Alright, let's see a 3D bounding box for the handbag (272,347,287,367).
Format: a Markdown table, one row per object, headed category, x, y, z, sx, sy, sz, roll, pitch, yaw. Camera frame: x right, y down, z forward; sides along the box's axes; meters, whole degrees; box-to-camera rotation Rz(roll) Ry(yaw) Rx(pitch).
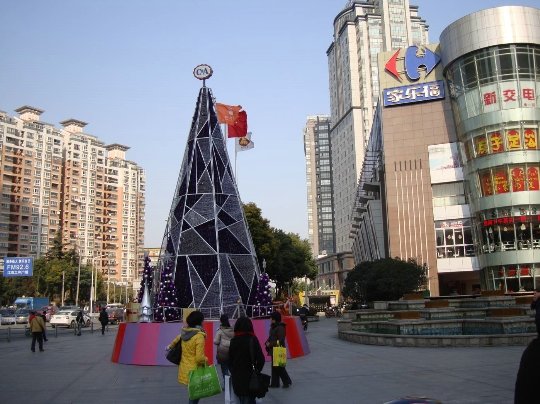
| category | x | y | z | sx | sy | sz | roll | pitch | yaw |
| --- | --- | --- | --- | --- | --- | --- | --- | --- | --- |
| handbag | 0.288 | 5.273 | 18.824 | 0.441 | 0.684 | 0.294 | 0 | -13 | -9 |
